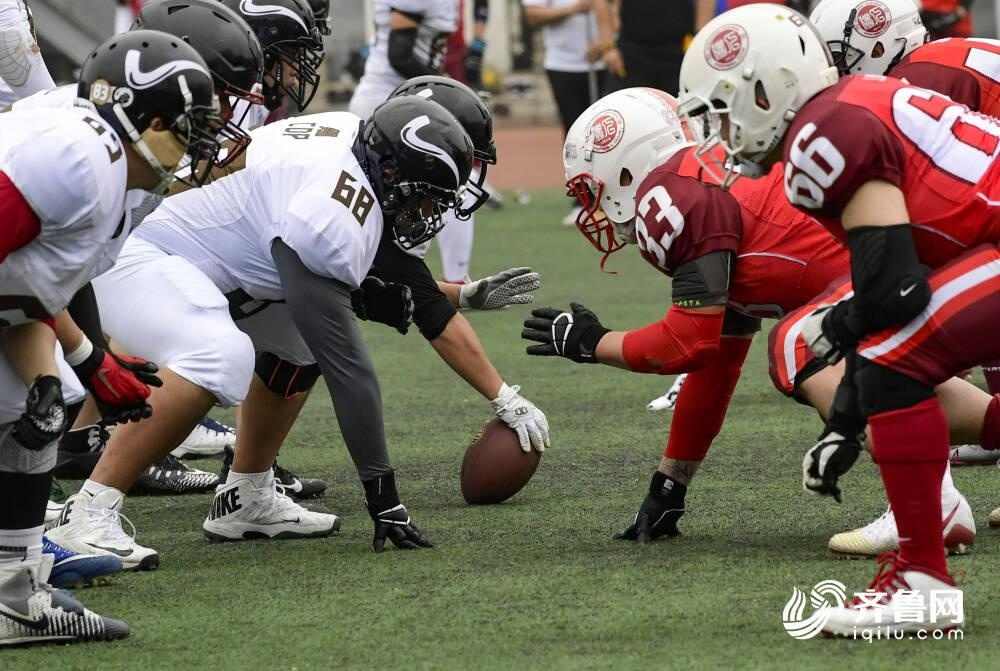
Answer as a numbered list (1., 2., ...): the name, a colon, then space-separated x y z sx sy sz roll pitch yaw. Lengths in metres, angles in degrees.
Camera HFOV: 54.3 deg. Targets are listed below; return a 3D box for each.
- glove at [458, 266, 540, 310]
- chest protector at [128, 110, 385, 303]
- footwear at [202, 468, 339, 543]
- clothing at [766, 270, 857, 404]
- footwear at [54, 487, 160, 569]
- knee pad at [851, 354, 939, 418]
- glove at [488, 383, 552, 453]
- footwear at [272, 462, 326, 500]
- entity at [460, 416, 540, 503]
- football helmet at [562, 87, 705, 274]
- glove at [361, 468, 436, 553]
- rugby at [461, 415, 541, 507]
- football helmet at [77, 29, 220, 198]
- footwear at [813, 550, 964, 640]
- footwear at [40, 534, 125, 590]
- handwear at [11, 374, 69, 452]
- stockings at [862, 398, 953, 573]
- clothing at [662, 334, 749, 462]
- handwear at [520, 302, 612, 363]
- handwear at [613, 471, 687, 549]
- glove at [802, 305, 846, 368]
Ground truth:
1. glove: -0.003 -0.190 4.000 0.295 0.112 0.164 -6 -28 0
2. chest protector: -0.779 -0.368 3.231 0.726 0.288 0.557 -9 44 7
3. footwear: -0.740 0.612 3.510 0.572 0.335 0.205 1 1 -8
4. clothing: 0.909 -0.003 3.027 0.329 0.132 0.333 33 64 24
5. footwear: -1.292 0.623 3.171 0.446 0.218 0.167 8 -6 26
6. knee pad: 0.994 0.136 2.504 0.165 0.165 0.162 -9 4 -15
7. glove: 0.092 0.310 3.721 0.194 0.271 0.091 -43 -2 -45
8. footwear: -0.782 0.589 3.892 0.274 0.116 0.093 10 23 -19
9. entity: 0.003 0.492 3.724 0.224 0.190 0.318 -24 21 46
10. football helmet: 0.423 -0.586 3.604 0.572 0.663 0.529 -5 8 23
11. glove: -0.351 0.617 3.361 0.195 0.326 0.155 -19 1 -13
12. rugby: -0.002 0.491 3.727 0.225 0.189 0.320 -22 23 49
13. football helmet: -0.917 -0.647 2.749 0.445 0.447 0.333 11 19 -26
14. footwear: 1.028 0.696 2.632 0.459 0.234 0.168 -2 -5 10
15. footwear: -1.269 0.711 3.066 0.331 0.182 0.111 0 5 -9
16. handwear: -1.228 0.213 2.604 0.134 0.206 0.112 -8 12 -28
17. stockings: 1.060 0.391 2.531 0.196 0.463 0.137 -1 10 8
18. clothing: 0.705 0.241 3.385 0.144 0.475 0.153 1 -34 40
19. handwear: 0.223 -0.002 3.266 0.282 0.201 0.171 -1 11 10
20. handwear: 0.540 0.591 3.293 0.191 0.252 0.241 18 0 25
21. glove: 0.855 0.003 2.632 0.143 0.062 0.119 -41 -29 16
